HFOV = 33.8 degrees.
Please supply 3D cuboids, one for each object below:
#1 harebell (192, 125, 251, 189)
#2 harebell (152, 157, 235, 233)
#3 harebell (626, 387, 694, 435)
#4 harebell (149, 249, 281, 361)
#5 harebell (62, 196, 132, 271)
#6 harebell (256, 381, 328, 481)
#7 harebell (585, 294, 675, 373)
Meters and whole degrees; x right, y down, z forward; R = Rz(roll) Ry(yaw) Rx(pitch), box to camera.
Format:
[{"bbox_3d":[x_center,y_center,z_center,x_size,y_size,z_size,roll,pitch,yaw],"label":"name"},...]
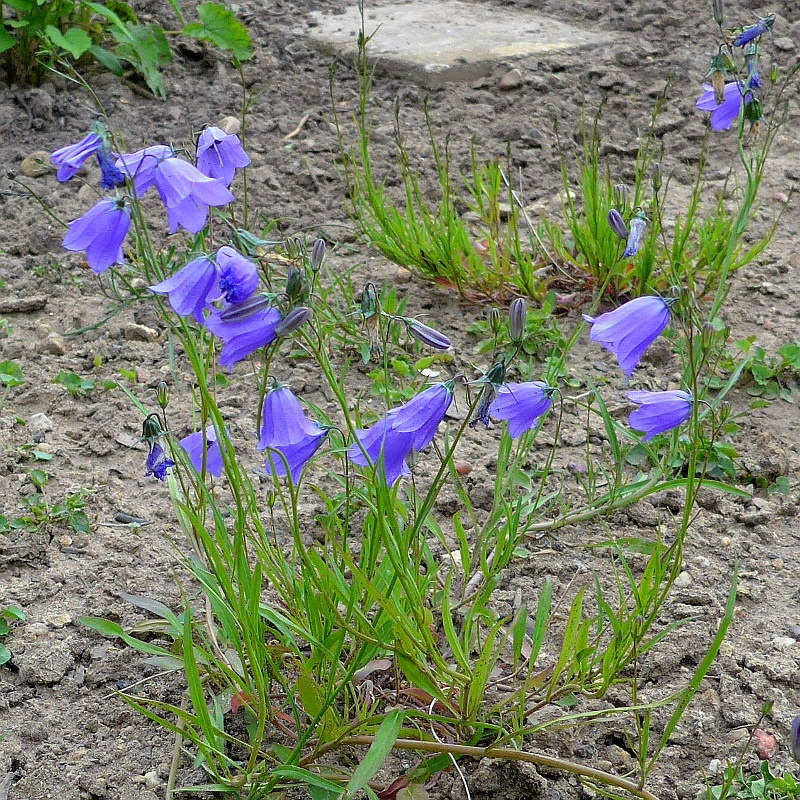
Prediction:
[{"bbox_3d":[-0.440,-0.586,3.171,0.116,0.166,0.064,-11,36,-9],"label":"harebell"},{"bbox_3d":[-0.461,-0.440,2.948,0.158,0.140,0.209,-12,35,-16],"label":"harebell"},{"bbox_3d":[0.622,0.022,3.186,0.124,0.116,0.061,-13,12,-2],"label":"harebell"},{"bbox_3d":[-0.425,-0.225,2.950,0.234,0.290,0.097,7,-1,-41],"label":"harebell"},{"bbox_3d":[-0.696,-0.359,3.015,0.159,0.176,0.152,-9,33,-11],"label":"harebell"},{"bbox_3d":[-0.287,0.042,3.044,0.156,0.187,0.226,4,70,-28],"label":"harebell"},{"bbox_3d":[0.542,-0.162,3.105,0.207,0.110,0.151,-39,62,4],"label":"harebell"}]
